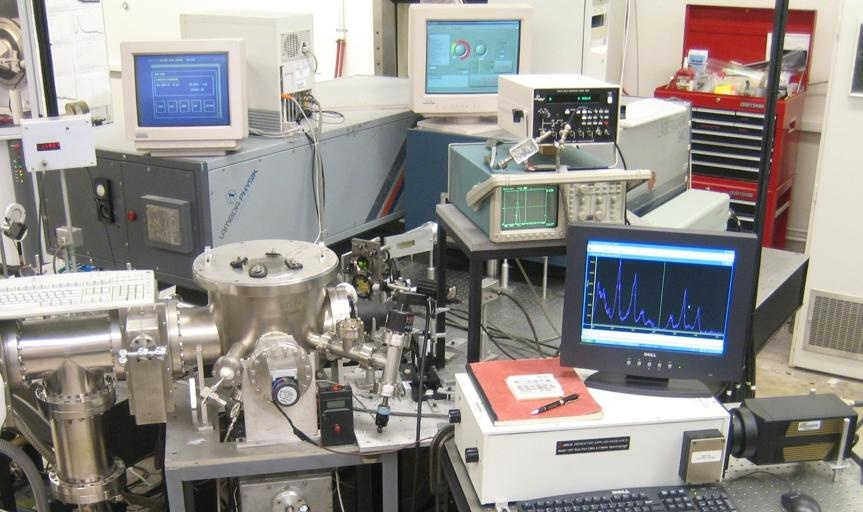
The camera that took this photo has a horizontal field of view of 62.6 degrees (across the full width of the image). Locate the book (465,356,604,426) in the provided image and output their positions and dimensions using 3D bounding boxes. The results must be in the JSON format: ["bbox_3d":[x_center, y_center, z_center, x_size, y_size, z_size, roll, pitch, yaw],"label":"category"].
[{"bbox_3d":[0.404,0.542,2.870,0.288,0.038,0.292,-3,27,-10],"label":"book"}]

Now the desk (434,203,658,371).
[{"bbox_3d":[0.465,0.169,3.317,0.834,0.763,0.749,-2,16,-7],"label":"desk"}]

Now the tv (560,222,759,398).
[{"bbox_3d":[0.902,0.221,2.894,0.727,0.598,0.332,4,20,8],"label":"tv"}]
